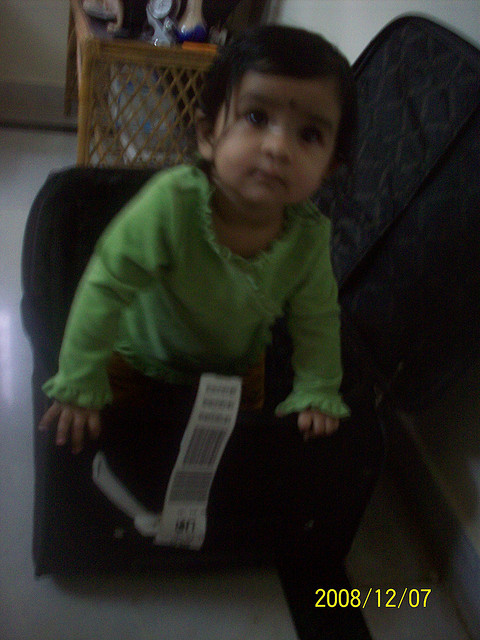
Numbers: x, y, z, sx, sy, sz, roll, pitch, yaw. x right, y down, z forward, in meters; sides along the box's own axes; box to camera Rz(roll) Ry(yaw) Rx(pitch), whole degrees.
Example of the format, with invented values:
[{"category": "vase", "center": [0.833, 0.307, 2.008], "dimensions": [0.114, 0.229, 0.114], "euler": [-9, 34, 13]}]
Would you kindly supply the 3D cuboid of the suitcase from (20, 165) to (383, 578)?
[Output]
[{"category": "suitcase", "center": [-0.070, 0.118, 0.733], "dimensions": [0.412, 0.270, 0.458], "euler": [1, 64, -12]}]
